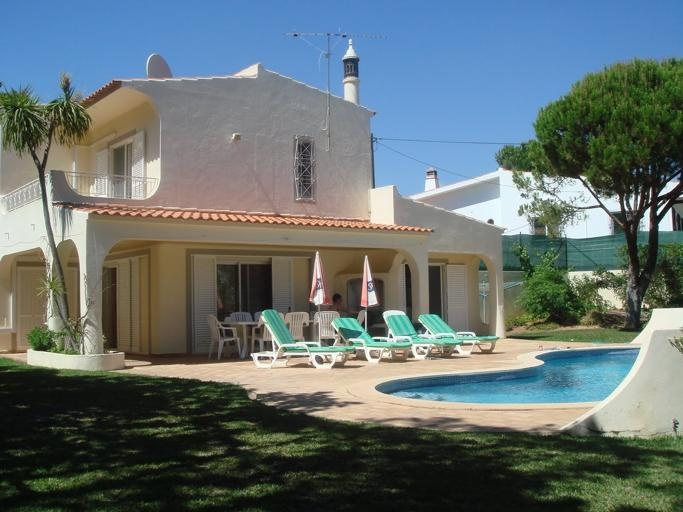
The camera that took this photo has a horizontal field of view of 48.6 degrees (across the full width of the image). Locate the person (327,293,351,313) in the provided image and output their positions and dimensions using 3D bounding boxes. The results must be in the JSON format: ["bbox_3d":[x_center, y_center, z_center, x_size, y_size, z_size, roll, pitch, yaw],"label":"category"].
[{"bbox_3d":[-0.058,1.484,22.757,0.619,0.859,0.612,-6,4,-16],"label":"person"}]
